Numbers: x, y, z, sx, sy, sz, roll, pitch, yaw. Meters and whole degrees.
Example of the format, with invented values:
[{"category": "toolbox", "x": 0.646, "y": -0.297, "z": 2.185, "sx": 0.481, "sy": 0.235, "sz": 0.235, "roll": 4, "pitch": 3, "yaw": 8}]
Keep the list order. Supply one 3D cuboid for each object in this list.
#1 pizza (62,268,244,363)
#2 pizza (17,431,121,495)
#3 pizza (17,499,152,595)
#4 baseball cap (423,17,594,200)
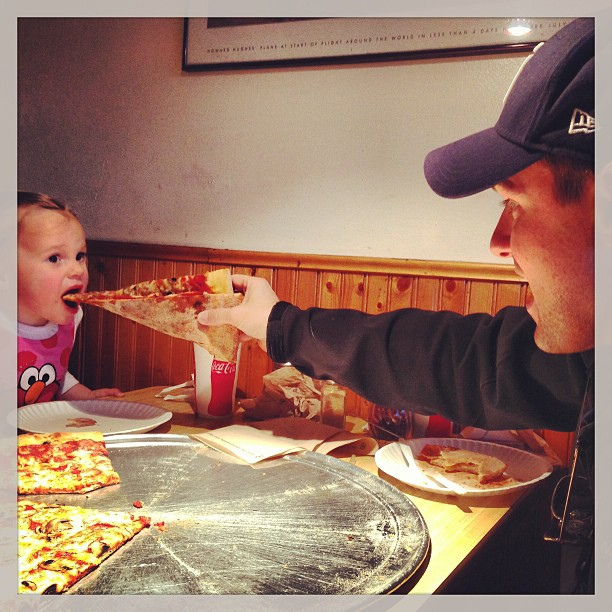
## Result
[{"category": "pizza", "x": -0.304, "y": 0.043, "z": 1.157, "sx": 0.277, "sy": 0.135, "sz": 0.183, "roll": -9, "pitch": -20, "yaw": 26}, {"category": "pizza", "x": -0.413, "y": 0.268, "z": 0.989, "sx": 0.118, "sy": 0.016, "sz": 0.117, "roll": 3, "pitch": 16, "yaw": -5}, {"category": "pizza", "x": -0.356, "y": 0.371, "z": 0.858, "sx": 0.150, "sy": 0.018, "sz": 0.160, "roll": 6, "pitch": 14, "yaw": 27}, {"category": "baseball cap", "x": 0.368, "y": -0.329, "z": 0.999, "sx": 0.327, "sy": 0.155, "sz": 0.203, "roll": -6, "pitch": 22, "yaw": 12}]
